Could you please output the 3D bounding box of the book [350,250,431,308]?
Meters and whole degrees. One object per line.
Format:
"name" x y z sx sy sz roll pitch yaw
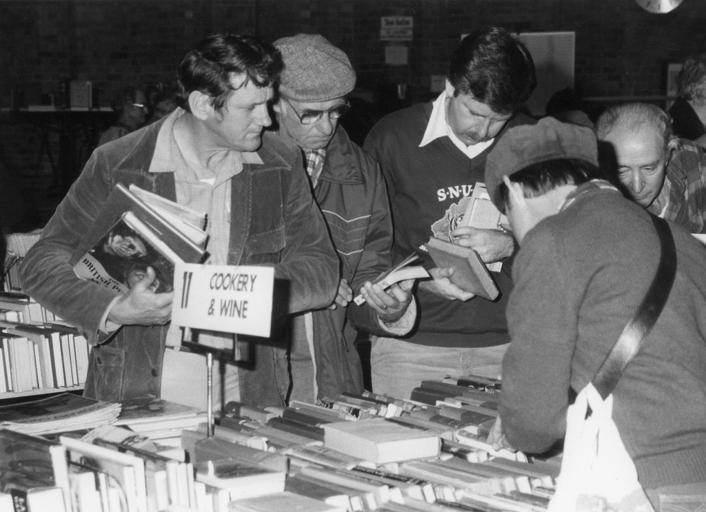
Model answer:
"book" 0.124 0.063 2.942 0.264 0.228 0.083 -5 -36 -26

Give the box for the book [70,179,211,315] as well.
"book" -0.685 -0.040 2.526 0.394 0.384 0.117 28 28 7

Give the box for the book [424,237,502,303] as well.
"book" 0.383 0.054 2.929 0.060 0.254 0.255 -44 27 -20

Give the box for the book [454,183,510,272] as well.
"book" 0.518 -0.161 3.237 0.082 0.326 0.330 -4 -32 -10

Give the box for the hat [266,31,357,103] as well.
"hat" -0.128 -0.757 3.003 0.300 0.114 0.275 2 -19 22
